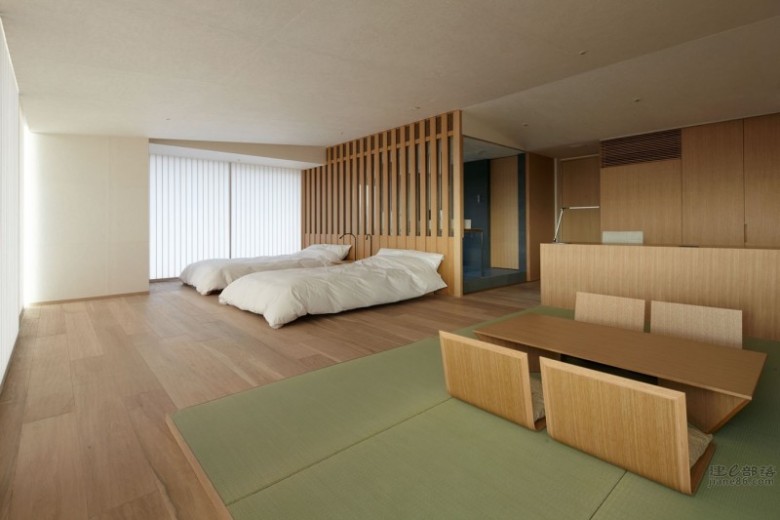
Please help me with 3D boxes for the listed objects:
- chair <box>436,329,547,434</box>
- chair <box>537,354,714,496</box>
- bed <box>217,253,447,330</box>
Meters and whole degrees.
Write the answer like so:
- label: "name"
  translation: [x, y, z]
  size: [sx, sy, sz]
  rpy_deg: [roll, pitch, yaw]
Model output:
- label: "chair"
  translation: [0.695, 0.877, 3.350]
  size: [0.846, 0.554, 0.704]
  rpy_deg: [4, 4, 45]
- label: "chair"
  translation: [1.663, 0.896, 3.145]
  size: [1.061, 0.695, 0.908]
  rpy_deg: [4, 5, 40]
- label: "bed"
  translation: [-0.688, 0.375, 6.310]
  size: [2.538, 0.575, 1.079]
  rpy_deg: [-8, 12, -39]
